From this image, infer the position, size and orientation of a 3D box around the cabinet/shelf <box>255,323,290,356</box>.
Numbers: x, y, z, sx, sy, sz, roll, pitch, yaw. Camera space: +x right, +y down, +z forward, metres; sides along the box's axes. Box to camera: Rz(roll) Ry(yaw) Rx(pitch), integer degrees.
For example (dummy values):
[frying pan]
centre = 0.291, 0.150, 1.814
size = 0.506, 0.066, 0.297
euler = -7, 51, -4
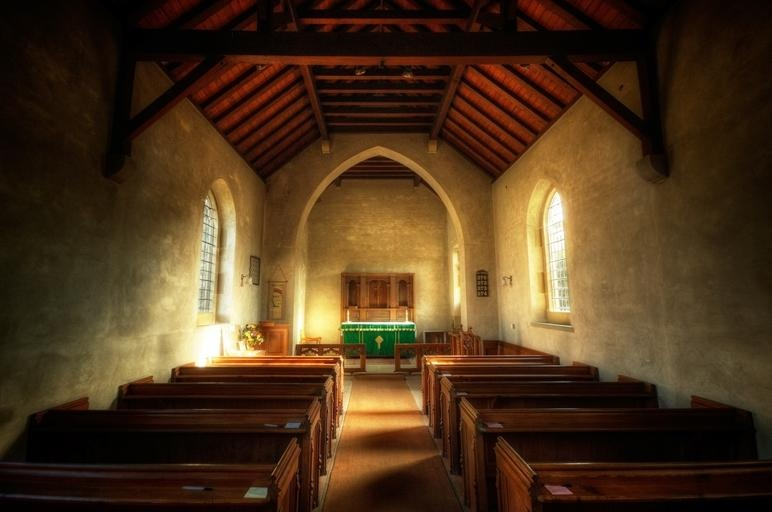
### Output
[cabinet/shelf]
centre = -2.409, 1.763, 11.221
size = 0.633, 0.985, 0.650
euler = -1, -5, -1

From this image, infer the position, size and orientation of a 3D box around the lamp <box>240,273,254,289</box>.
[lamp]
centre = -2.831, 0.474, 10.395
size = 0.218, 0.365, 0.163
euler = -9, -12, 24

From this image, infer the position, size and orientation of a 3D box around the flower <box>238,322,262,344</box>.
[flower]
centre = -2.682, 1.598, 10.418
size = 0.380, 0.485, 0.847
euler = 2, 5, -5
